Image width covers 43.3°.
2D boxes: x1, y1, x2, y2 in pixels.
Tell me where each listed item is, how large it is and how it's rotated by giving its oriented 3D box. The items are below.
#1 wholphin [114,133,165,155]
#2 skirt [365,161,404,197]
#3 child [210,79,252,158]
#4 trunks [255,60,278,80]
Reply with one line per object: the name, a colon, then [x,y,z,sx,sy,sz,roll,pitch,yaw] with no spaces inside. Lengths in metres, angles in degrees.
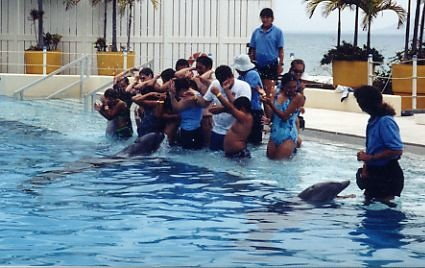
wholphin: [-1.452,0.287,10.734,0.957,0.358,0.345,-22,-4,-19]
skirt: [2.644,0.684,8.259,0.394,0.673,0.564,-2,5,-41]
child: [0.384,-0.201,10.327,0.735,1.359,0.378,2,6,-3]
trunks: [1.315,-1.430,12.688,0.580,0.492,0.415,-1,2,21]
